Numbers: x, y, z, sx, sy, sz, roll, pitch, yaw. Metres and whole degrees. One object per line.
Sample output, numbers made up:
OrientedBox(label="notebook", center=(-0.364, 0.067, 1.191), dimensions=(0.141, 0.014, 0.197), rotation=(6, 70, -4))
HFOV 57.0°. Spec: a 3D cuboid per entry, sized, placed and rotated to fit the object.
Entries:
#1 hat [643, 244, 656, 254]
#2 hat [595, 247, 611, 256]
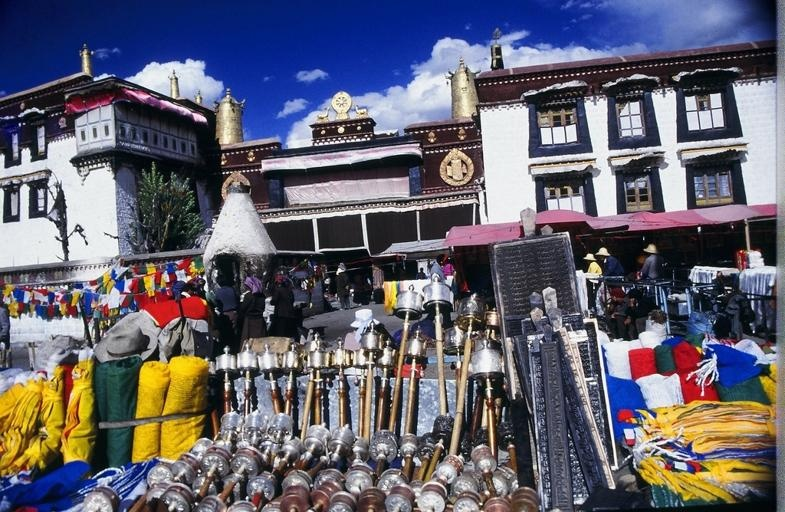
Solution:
OrientedBox(label="hat", center=(7.611, -0.151, 21.405), dimensions=(0.434, 0.214, 0.429), rotation=(-2, 8, 32))
OrientedBox(label="hat", center=(6.347, -0.081, 21.670), dimensions=(0.466, 0.227, 0.469), rotation=(-2, -5, -3))
